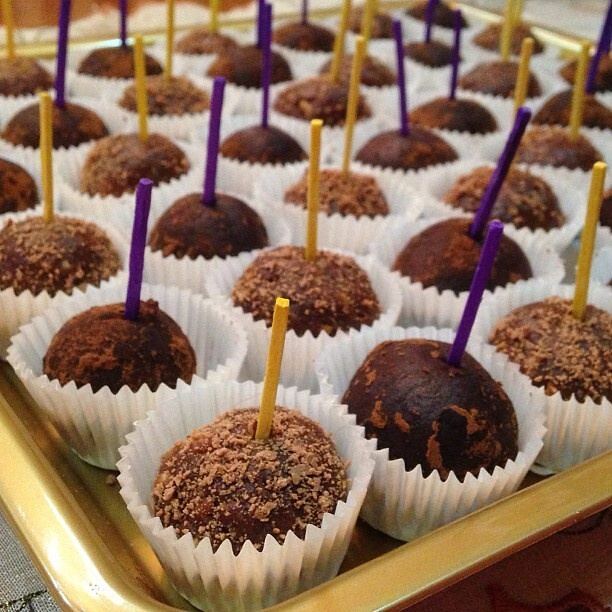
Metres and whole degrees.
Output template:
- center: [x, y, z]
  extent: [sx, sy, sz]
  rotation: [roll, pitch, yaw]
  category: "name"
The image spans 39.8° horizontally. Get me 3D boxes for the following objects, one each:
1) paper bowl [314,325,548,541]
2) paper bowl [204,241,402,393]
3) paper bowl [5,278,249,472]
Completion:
- center: [0.235, 0.255, 1.649]
  extent: [0.373, 0.189, 0.389]
  rotation: [4, 33, -3]
  category: "paper bowl"
- center: [0.063, -0.032, 1.834]
  extent: [0.344, 0.351, 0.166]
  rotation: [-7, 25, -4]
  category: "paper bowl"
- center: [-0.377, 0.117, 1.681]
  extent: [0.407, 0.202, 0.415]
  rotation: [1, 29, 0]
  category: "paper bowl"
